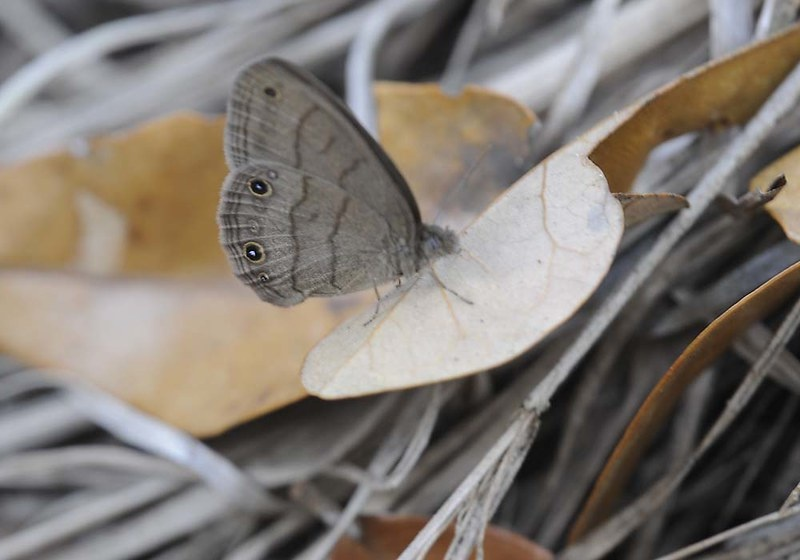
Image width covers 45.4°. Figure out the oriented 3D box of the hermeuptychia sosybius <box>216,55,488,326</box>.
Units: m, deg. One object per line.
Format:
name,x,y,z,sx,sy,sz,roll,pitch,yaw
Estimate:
hermeuptychia sosybius,-0.050,-0.107,1.031,0.229,0.195,0.322,-7,-16,19
